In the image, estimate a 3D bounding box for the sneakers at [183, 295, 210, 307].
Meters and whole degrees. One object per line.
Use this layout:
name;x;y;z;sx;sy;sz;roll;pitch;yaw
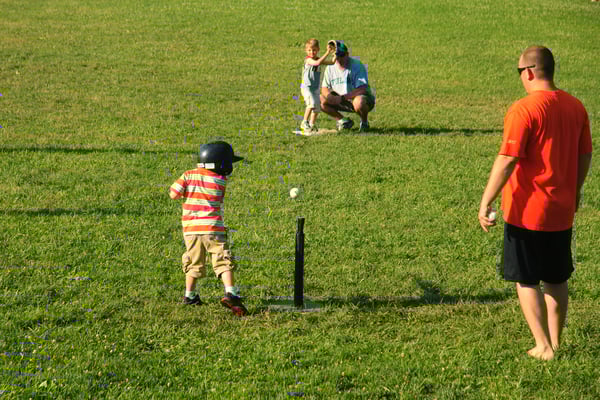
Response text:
sneakers;-2.855;2.689;30.527;0.611;0.304;0.230;0;4;-9
